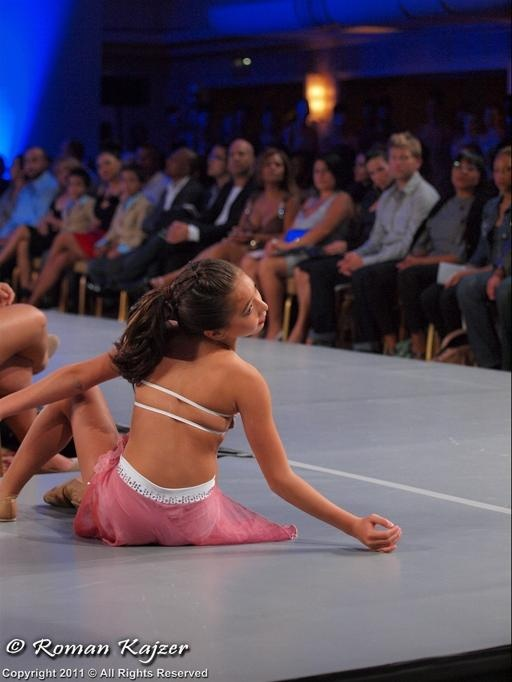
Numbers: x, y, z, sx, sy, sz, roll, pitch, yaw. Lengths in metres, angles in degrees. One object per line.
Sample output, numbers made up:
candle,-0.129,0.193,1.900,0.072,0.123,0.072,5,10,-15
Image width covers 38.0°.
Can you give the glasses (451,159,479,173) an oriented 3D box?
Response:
glasses,0.620,-0.522,2.199,0.052,0.012,0.052,12,1,34
